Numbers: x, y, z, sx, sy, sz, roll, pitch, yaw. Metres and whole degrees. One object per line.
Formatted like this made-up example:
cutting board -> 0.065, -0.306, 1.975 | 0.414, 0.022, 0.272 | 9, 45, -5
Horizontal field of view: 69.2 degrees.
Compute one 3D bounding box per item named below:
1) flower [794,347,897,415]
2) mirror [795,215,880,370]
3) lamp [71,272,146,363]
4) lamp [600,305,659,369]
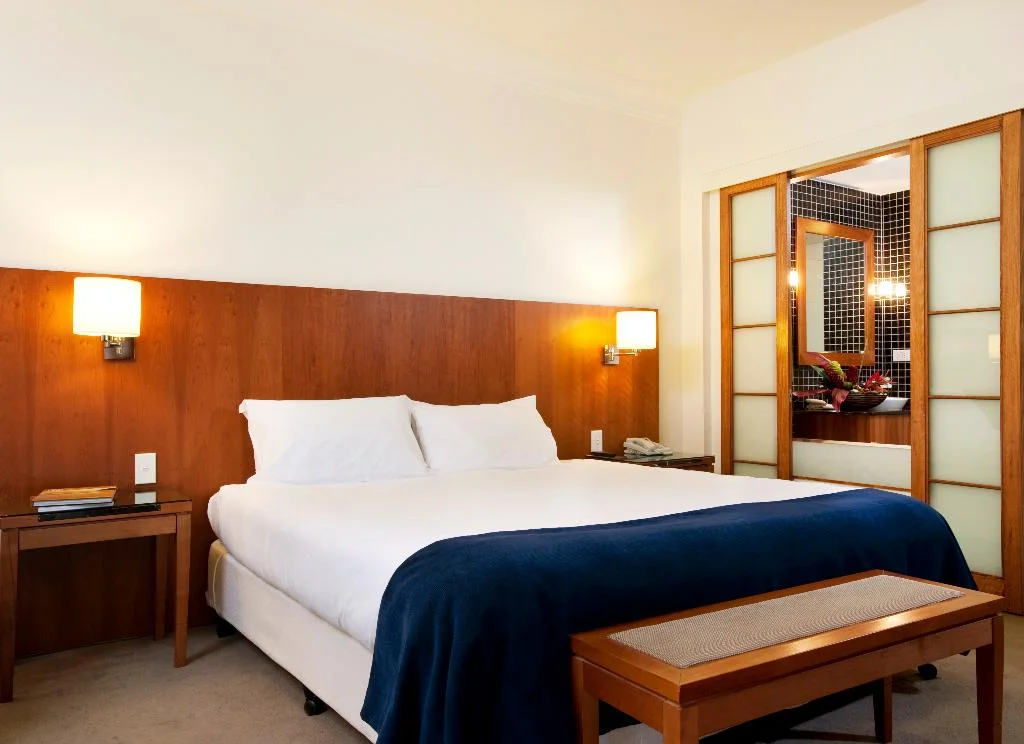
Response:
flower -> 2.500, 0.166, 5.617 | 0.599, 0.397, 0.711 | 1, -8, -11
mirror -> 2.873, -0.698, 6.643 | 1.399, 1.694, 0.066 | 5, -7, -37
lamp -> -1.868, -0.223, 3.445 | 0.259, 0.346, 0.296 | 1, -1, 11
lamp -> 0.812, -0.227, 4.957 | 0.439, 0.369, 0.274 | -2, 6, -15
